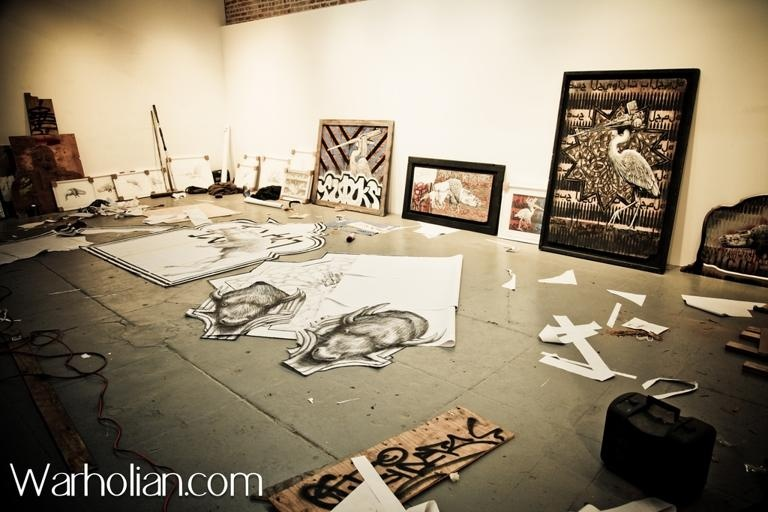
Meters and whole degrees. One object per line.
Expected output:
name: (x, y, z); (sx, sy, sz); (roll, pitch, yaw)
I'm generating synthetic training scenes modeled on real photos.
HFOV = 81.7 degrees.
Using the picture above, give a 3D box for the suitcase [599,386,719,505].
suitcase: (1.599, 1.136, 2.588); (0.346, 0.408, 0.435); (-17, 26, -33)

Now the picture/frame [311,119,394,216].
picture/frame: (-0.461, -1.436, 7.221); (1.571, 1.406, 0.081); (13, 12, 36)

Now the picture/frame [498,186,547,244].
picture/frame: (1.840, -0.533, 5.826); (0.779, 0.780, 0.063); (5, 3, 44)
